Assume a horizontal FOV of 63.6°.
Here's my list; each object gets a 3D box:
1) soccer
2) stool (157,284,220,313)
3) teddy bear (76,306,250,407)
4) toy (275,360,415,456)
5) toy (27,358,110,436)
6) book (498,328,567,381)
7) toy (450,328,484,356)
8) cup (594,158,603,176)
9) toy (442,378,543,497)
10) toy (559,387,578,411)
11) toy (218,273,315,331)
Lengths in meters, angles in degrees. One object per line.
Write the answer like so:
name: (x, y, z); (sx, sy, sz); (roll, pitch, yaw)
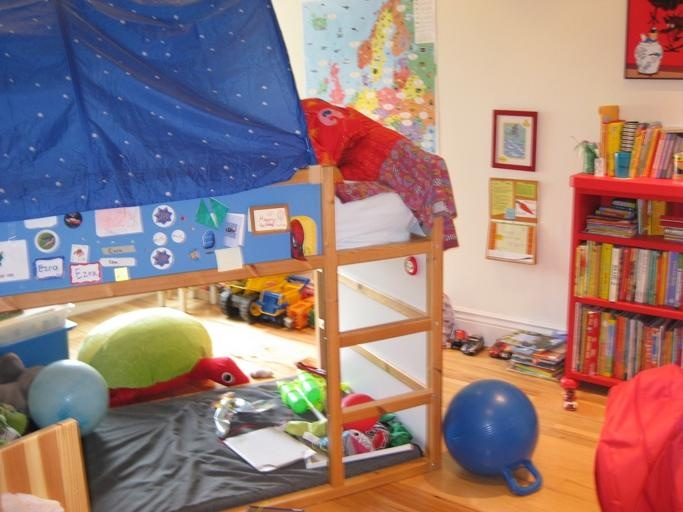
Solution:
soccer: (-1.281, 0.668, 2.560); (0.304, 0.329, 0.288); (7, 30, -36)
stool: (-1.351, 0.361, 4.837); (0.439, 0.249, 0.430); (-7, 11, -40)
teddy bear: (-1.114, 0.583, 3.339); (0.844, 0.397, 0.557); (-3, 11, -20)
toy: (-0.046, 0.827, 2.901); (0.372, 0.131, 0.583); (-16, 23, -36)
toy: (-1.291, 0.672, 2.580); (0.305, 0.331, 0.293); (9, 24, -44)
book: (1.258, 0.630, 3.530); (0.309, 0.097, 0.303); (8, 11, 36)
toy: (0.891, 0.598, 3.855); (0.157, 0.074, 0.202); (12, 11, 30)
cup: (1.467, -0.501, 3.109); (0.044, 0.093, 0.026); (2, 8, 24)
toy: (0.694, 0.818, 2.520); (0.445, 0.481, 0.229); (0, 7, 10)
toy: (1.306, 0.816, 3.128); (0.083, 0.129, 0.129); (0, 2, -3)
toy: (-0.558, 0.365, 4.327); (0.462, 0.220, 0.659); (7, 11, 39)
